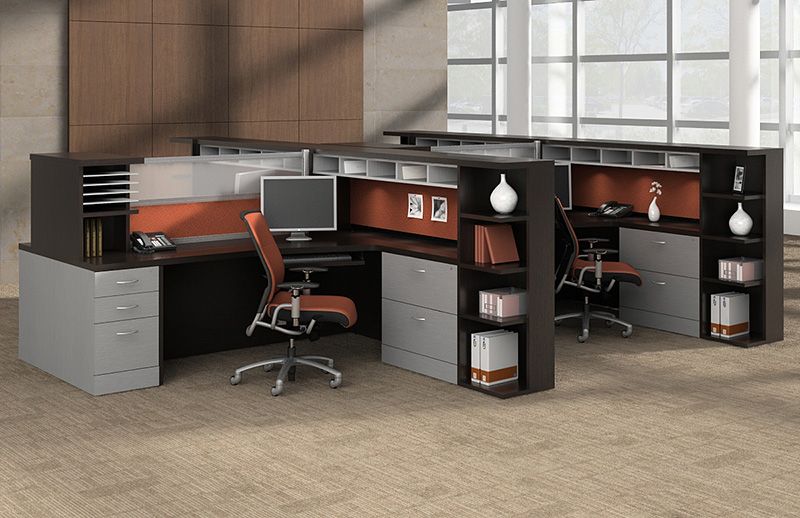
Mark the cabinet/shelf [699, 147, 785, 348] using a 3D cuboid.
[{"bbox_3d":[3.526,-0.151,6.457,0.921,1.952,0.568,4,11,21],"label":"cabinet/shelf"}]

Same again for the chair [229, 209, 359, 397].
[{"bbox_3d":[-0.870,0.381,5.465,1.161,1.344,1.063,2,4,-17],"label":"chair"}]

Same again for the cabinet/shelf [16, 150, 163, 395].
[{"bbox_3d":[-2.722,0.076,5.414,0.759,1.942,1.329,-10,14,-41],"label":"cabinet/shelf"}]

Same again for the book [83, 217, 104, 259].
[{"bbox_3d":[-2.549,-0.172,5.182,0.219,0.333,0.377,0,1,-23],"label":"book"}]

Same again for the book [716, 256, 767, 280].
[{"bbox_3d":[3.526,0.094,6.460,0.303,0.166,0.277,-4,7,-32],"label":"book"}]

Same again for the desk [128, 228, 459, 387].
[{"bbox_3d":[-1.302,0.297,5.972,1.825,0.687,1.780,-6,7,-40],"label":"desk"}]

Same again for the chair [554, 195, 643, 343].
[{"bbox_3d":[2.112,0.116,6.859,1.153,1.362,0.995,3,1,12],"label":"chair"}]

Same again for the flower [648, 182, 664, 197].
[{"bbox_3d":[2.952,-0.811,7.205,0.176,0.152,0.050,-2,14,19],"label":"flower"}]

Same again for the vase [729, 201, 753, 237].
[{"bbox_3d":[3.499,-0.417,6.439,0.307,0.292,0.286,-4,13,13],"label":"vase"}]

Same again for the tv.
[{"bbox_3d":[-0.978,-0.501,5.970,0.754,0.529,0.167,-1,1,-13],"label":"tv"}]

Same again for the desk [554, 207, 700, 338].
[{"bbox_3d":[2.388,0.066,6.987,1.834,1.403,1.524,0,7,-3],"label":"desk"}]

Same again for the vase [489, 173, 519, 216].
[{"bbox_3d":[0.871,-0.535,5.125,0.192,0.328,0.255,7,13,36],"label":"vase"}]
